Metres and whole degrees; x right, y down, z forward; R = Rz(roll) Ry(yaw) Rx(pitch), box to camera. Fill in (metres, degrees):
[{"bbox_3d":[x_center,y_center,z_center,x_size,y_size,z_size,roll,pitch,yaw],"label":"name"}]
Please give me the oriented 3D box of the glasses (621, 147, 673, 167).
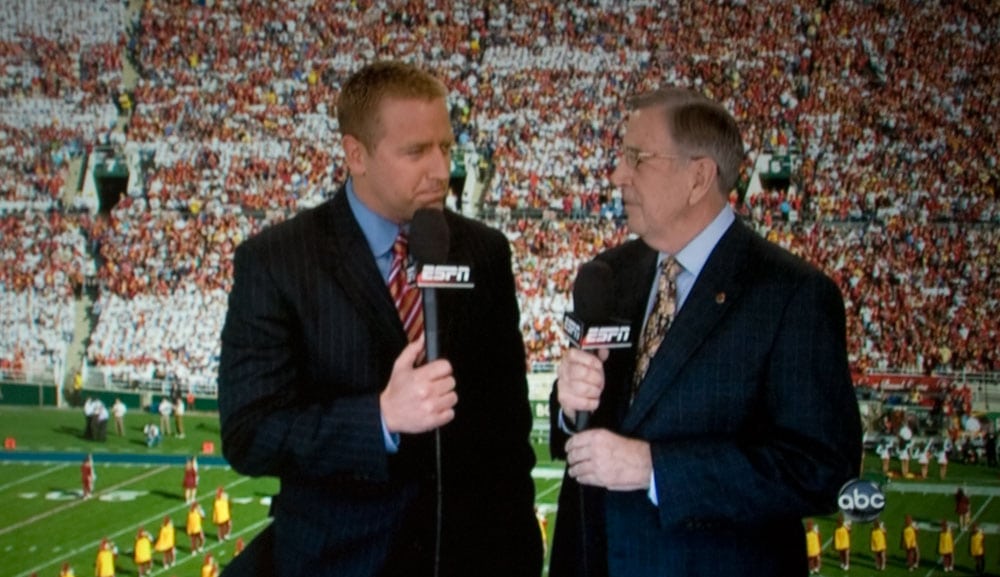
[{"bbox_3d":[0.923,-0.864,6.914,0.196,0.066,0.164,2,-4,-7],"label":"glasses"}]
